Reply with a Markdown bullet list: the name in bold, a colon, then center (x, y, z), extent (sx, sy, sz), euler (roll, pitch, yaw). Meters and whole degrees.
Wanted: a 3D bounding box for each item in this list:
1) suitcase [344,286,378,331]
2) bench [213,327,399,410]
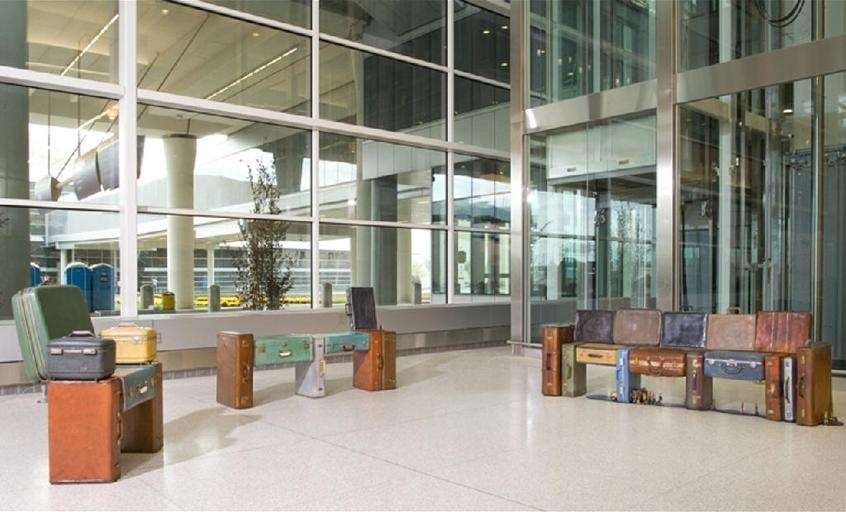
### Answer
- **suitcase**: center (-0.968, 0.883, 10.931), extent (0.510, 0.669, 0.555), euler (-4, 8, -27)
- **bench**: center (-1.838, 1.729, 10.367), extent (2.625, 1.010, 0.838), euler (1, -4, -37)
